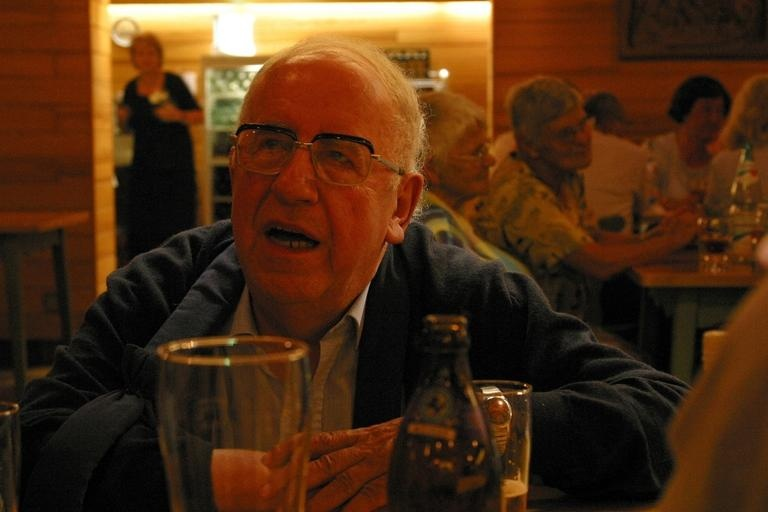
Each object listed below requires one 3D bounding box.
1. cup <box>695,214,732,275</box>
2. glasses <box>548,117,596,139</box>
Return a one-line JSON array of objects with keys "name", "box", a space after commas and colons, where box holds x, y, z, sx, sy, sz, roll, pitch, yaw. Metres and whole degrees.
[{"name": "cup", "box": [1.443, -0.057, 3.485, 0.136, 0.239, 0.086, -2, -28, 18]}, {"name": "glasses", "box": [0.848, -0.568, 3.586, 0.121, 0.059, 0.164, -3, 5, -30]}]
